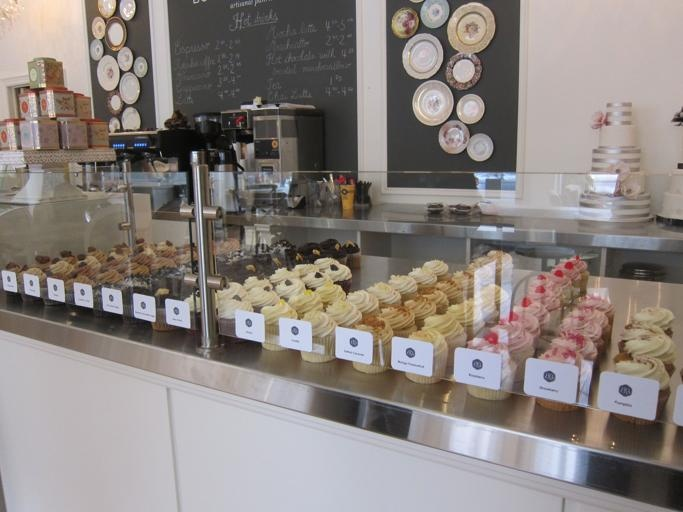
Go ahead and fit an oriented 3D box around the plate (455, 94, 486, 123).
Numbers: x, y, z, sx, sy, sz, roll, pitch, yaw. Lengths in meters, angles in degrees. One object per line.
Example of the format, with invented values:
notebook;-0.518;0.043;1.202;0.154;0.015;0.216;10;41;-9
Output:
plate;0.828;-0.950;3.491;0.181;0.189;0.029;4;10;34

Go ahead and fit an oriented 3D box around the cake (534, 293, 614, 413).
cake;0.505;0.166;1.168;0.109;0.102;0.308;6;38;33

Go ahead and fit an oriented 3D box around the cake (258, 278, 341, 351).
cake;-0.118;0.122;1.334;0.143;0.142;0.186;2;10;2

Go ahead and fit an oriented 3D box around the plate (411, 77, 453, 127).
plate;0.548;-1.001;3.501;0.260;0.281;0.062;16;23;28

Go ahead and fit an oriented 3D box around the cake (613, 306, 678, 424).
cake;0.609;0.193;1.090;0.097;0.097;0.245;8;38;34

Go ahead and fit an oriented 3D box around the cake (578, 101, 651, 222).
cake;0.594;-0.210;1.184;0.152;0.245;0.157;-7;11;-35

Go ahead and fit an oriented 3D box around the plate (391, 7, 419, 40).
plate;0.412;-1.542;3.589;0.179;0.186;0.042;33;26;28

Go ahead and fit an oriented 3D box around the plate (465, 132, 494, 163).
plate;0.892;-0.705;3.507;0.174;0.187;0.030;3;9;28
